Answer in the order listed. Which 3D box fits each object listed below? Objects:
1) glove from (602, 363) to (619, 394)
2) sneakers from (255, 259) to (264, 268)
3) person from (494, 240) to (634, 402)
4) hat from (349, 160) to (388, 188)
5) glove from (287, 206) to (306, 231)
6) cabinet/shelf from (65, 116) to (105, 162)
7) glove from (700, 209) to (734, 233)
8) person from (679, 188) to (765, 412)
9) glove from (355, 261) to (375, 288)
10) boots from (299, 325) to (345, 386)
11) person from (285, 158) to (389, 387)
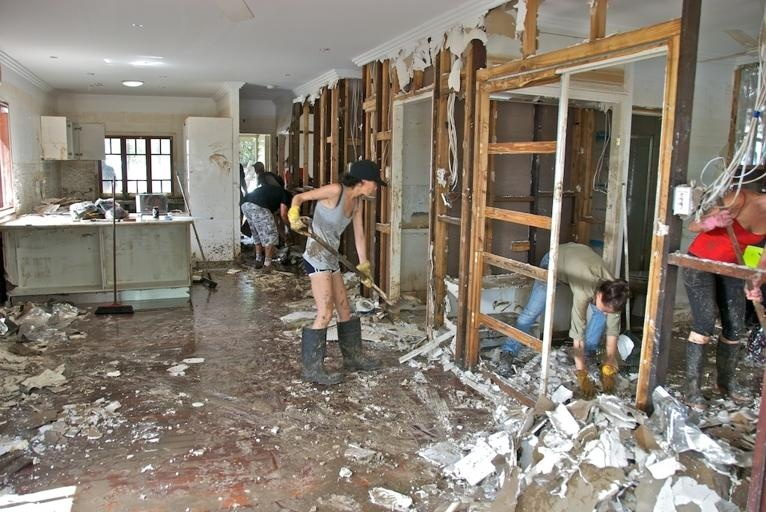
[{"bbox_3d":[1.896,1.031,4.154,0.110,0.088,0.211,18,27,2],"label":"glove"},{"bbox_3d":[-2.149,0.144,8.613,0.135,0.141,0.128,-1,-2,44],"label":"sneakers"},{"bbox_3d":[1.719,0.537,4.540,1.085,1.266,1.580,-3,-31,6],"label":"person"},{"bbox_3d":[-0.128,-0.717,4.297,0.305,0.160,0.208,5,13,-18],"label":"hat"},{"bbox_3d":[-0.720,-0.317,4.217,0.096,0.148,0.196,2,21,-3],"label":"glove"},{"bbox_3d":[-5.475,-2.126,9.133,0.882,0.666,0.583,10,16,41],"label":"cabinet/shelf"},{"bbox_3d":[2.224,-0.243,3.318,0.204,0.117,0.060,-17,13,22],"label":"glove"},{"bbox_3d":[2.475,0.339,3.627,0.505,1.680,0.965,7,14,31],"label":"person"},{"bbox_3d":[-0.172,0.148,4.707,0.185,0.305,0.125,-3,0,-15],"label":"glove"},{"bbox_3d":[-0.601,0.869,4.534,0.529,0.627,0.358,-2,10,-16],"label":"boots"},{"bbox_3d":[-0.419,0.130,4.468,0.809,1.946,0.528,-4,13,-18],"label":"person"}]
